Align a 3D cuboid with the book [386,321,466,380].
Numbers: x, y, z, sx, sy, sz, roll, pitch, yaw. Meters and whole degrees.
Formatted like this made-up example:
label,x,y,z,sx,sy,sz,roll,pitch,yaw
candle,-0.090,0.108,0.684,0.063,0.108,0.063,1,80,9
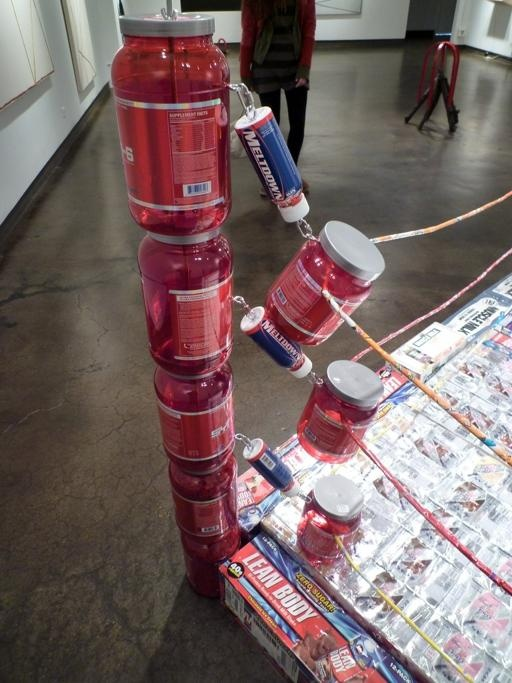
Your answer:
label,x,y,z,sx,sy,sz,roll,pitch,yaw
book,0.568,0.029,1.806,0.171,0.077,0.336,35,49,29
